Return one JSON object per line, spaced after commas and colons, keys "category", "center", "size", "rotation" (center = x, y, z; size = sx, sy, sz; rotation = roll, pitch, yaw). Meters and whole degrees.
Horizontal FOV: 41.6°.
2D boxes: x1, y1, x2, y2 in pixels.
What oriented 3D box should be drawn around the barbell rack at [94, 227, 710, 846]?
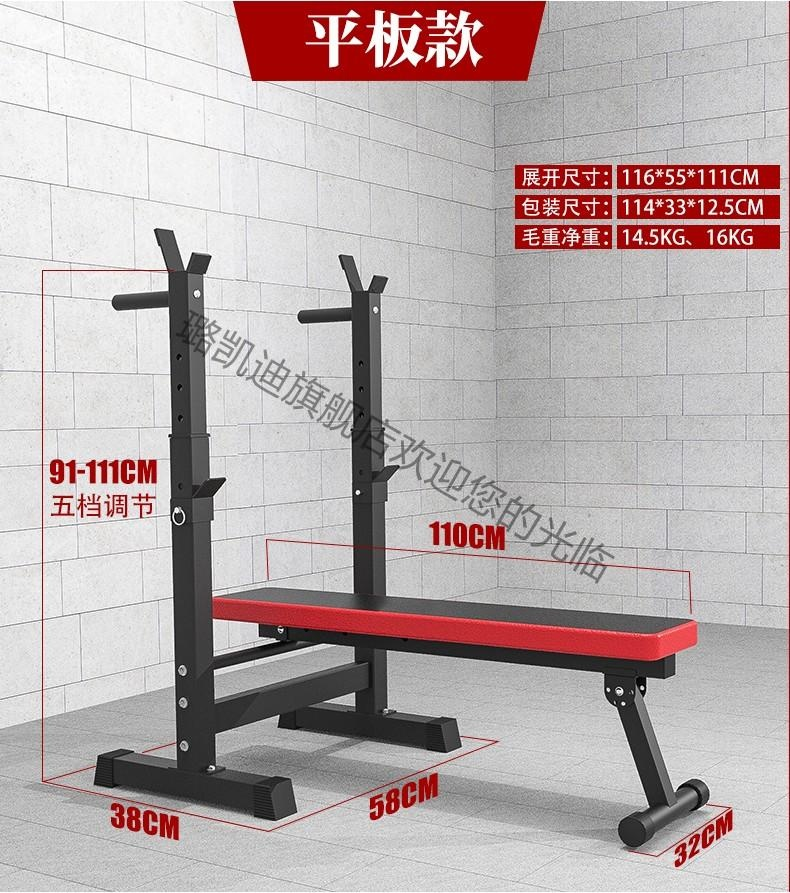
{"category": "barbell rack", "center": [0.040, 0.295, 3.273], "size": [1.730, 1.500, 0.994], "rotation": [-4, -3, 33]}
